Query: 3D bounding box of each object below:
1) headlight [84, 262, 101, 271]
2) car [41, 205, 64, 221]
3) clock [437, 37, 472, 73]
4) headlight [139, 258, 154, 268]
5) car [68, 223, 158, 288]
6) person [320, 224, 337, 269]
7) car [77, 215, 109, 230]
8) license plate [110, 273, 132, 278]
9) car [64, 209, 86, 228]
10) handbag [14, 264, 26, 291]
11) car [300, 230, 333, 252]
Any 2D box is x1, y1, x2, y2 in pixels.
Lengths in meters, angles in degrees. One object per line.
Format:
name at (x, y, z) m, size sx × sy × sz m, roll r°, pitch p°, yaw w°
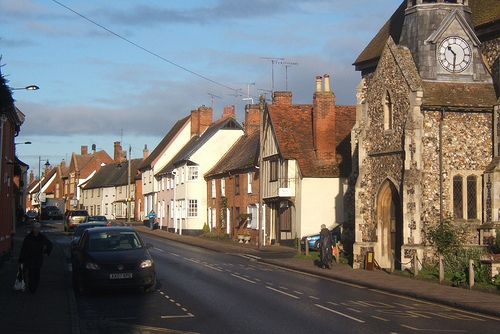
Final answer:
headlight at (-6.677, 4.079, 33.342) m, size 0.717 × 0.342 × 0.183 m, roll -2°, pitch -6°, yaw 17°
car at (-23.801, 5.305, 94.007) m, size 2.262 × 1.742 × 2.482 m, roll 2°, pitch -6°, yaw -20°
clock at (11.426, -6.303, 43.896) m, size 2.064 × 2.045 × 0.219 m, roll 0°, pitch 0°, yaw -12°
headlight at (-4.425, 4.011, 33.805) m, size 0.318 × 0.347 × 0.743 m, roll -3°, pitch -7°, yaw 25°
car at (-5.895, 3.771, 34.356) m, size 3.576 × 2.574 × 2.499 m, roll -1°, pitch -6°, yaw 11°
person at (4.205, 4.188, 43.094) m, size 0.673 × 2.376 × 1.256 m, roll -1°, pitch -6°, yaw 6°
car at (-10.167, 3.402, 50.533) m, size 1.584 × 1.180 × 3.429 m, roll 1°, pitch 3°, yaw -16°
license plate at (-5.451, 4.457, 33.254) m, size 0.899 × 0.185 × 0.042 m, roll 1°, pitch -6°, yaw -12°
car at (-15.808, 4.279, 71.446) m, size 2.264 × 1.954 × 4.854 m, roll 0°, pitch 1°, yaw -15°
handbag at (-9.892, 4.602, 33.793) m, size 0.425 × 1.113 × 0.350 m, roll 1°, pitch -6°, yaw -15°
car at (4.392, 4.643, 51.656) m, size 1.998 × 0.977 × 1.154 m, roll 5°, pitch -6°, yaw -7°
